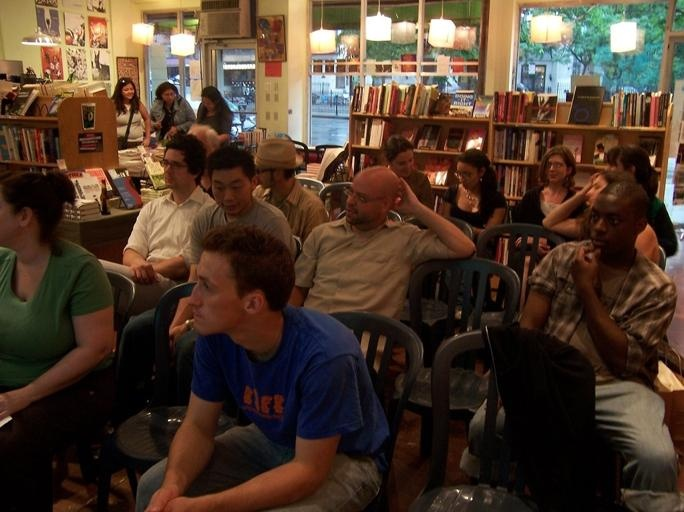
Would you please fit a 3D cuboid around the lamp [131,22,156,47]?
[{"bbox_3d":[-3.759,-4.200,9.784,0.358,0.387,0.274,-5,12,-32],"label":"lamp"}]

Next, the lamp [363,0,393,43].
[{"bbox_3d":[0.639,-3.958,8.664,0.383,0.925,1.375,2,11,6],"label":"lamp"}]

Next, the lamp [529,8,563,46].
[{"bbox_3d":[2.909,-3.121,7.275,0.449,0.401,0.495,3,7,9],"label":"lamp"}]

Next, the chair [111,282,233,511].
[{"bbox_3d":[-0.866,0.690,2.361,0.481,1.051,0.882,-4,11,-27],"label":"chair"}]

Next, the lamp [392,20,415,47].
[{"bbox_3d":[1.084,-3.890,9.070,0.360,0.301,0.359,-2,8,-41],"label":"lamp"}]

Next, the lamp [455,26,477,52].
[{"bbox_3d":[1.984,-3.476,8.451,0.324,0.381,0.333,-5,8,-34],"label":"lamp"}]

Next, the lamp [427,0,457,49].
[{"bbox_3d":[1.590,-3.350,7.901,0.331,0.397,0.814,8,12,31],"label":"lamp"}]

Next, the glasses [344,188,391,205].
[{"bbox_3d":[0.159,-0.312,2.854,0.170,0.053,0.130,0,16,-40],"label":"glasses"}]

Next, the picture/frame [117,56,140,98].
[{"bbox_3d":[-4.539,-3.830,10.936,0.413,0.848,0.023,-2,-21,-22],"label":"picture/frame"}]

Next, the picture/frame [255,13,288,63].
[{"bbox_3d":[-1.294,-4.037,9.600,0.773,1.114,0.072,4,8,29],"label":"picture/frame"}]

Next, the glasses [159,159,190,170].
[{"bbox_3d":[-1.172,-0.630,3.555,0.235,0.063,0.103,10,13,35],"label":"glasses"}]

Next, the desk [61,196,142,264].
[{"bbox_3d":[-1.757,-0.177,3.758,0.216,0.452,0.424,6,14,29],"label":"desk"}]

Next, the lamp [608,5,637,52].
[{"bbox_3d":[3.866,-2.960,7.025,0.367,0.374,0.279,2,10,4],"label":"lamp"}]

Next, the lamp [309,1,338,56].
[{"bbox_3d":[-0.338,-4.123,9.258,0.507,1.068,1.068,1,10,-2],"label":"lamp"}]

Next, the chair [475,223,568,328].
[{"bbox_3d":[1.346,0.037,3.801,0.623,1.021,0.664,4,6,34],"label":"chair"}]
